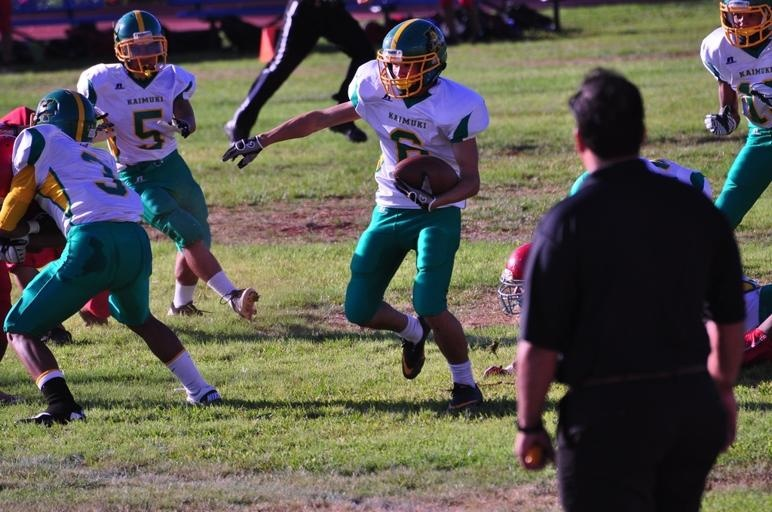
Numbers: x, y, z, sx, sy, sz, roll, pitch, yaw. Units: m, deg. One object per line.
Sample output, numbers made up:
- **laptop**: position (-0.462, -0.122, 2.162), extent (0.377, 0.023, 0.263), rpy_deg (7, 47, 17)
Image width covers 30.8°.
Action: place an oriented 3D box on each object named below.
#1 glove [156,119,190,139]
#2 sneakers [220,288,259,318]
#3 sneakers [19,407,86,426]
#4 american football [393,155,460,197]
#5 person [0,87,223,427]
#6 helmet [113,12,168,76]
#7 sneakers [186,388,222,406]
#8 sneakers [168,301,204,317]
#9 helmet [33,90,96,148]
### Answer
- **glove**: position (-1.587, -0.956, 10.527), extent (0.220, 0.095, 0.130), rpy_deg (14, 38, -35)
- **sneakers**: position (-1.091, 0.366, 10.534), extent (0.260, 0.114, 0.463), rpy_deg (7, -4, -17)
- **sneakers**: position (-2.231, 1.082, 9.372), extent (0.417, 0.132, 0.141), rpy_deg (2, -1, -9)
- **american football**: position (0.280, -0.520, 9.420), extent (0.423, 0.237, 0.259), rpy_deg (4, 8, 9)
- **person**: position (-2.000, 0.100, 9.445), extent (1.202, 1.952, 0.534), rpy_deg (-8, 15, -16)
- **helmet**: position (-1.884, -1.619, 10.600), extent (0.417, 0.423, 0.489), rpy_deg (-13, 51, -19)
- **sneakers**: position (-1.255, 0.982, 9.679), extent (0.247, 0.099, 0.100), rpy_deg (3, 3, 0)
- **sneakers**: position (-1.598, 0.427, 11.155), extent (0.328, 0.126, 0.105), rpy_deg (2, 6, -6)
- **helmet**: position (-2.183, -0.976, 9.600), extent (0.433, 0.350, 0.323), rpy_deg (35, 28, 24)
